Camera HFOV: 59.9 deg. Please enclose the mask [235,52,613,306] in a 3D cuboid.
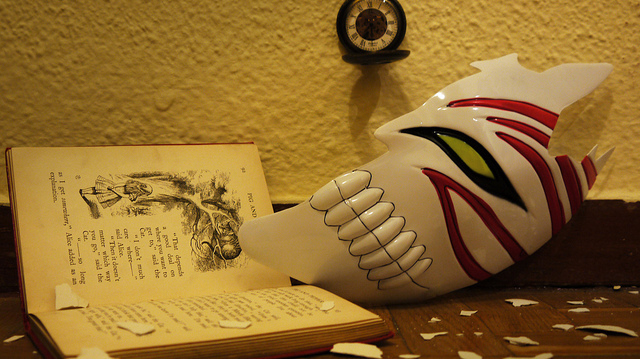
[{"bbox_3d":[0.303,0.036,1.278,0.890,0.161,0.422,-36,80,-4],"label":"mask"}]
